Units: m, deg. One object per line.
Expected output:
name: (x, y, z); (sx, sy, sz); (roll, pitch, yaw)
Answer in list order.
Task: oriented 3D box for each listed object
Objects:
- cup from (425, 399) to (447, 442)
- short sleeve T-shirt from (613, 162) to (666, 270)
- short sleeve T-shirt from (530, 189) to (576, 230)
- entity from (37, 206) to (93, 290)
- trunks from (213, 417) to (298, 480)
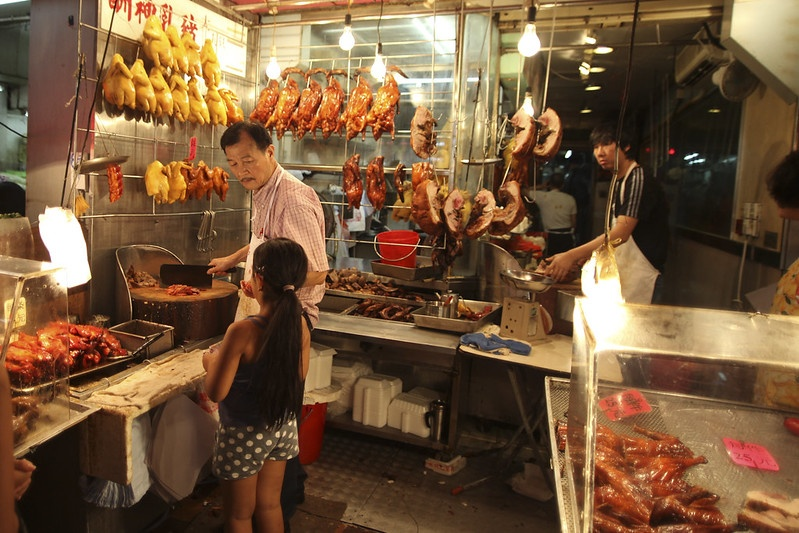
cup: (0.336, 1.255, 4.820); (0.237, 0.307, 0.152); (-8, 14, -40)
short sleeve T-shirt: (2.040, -0.417, 4.998); (0.398, 0.868, 0.709); (-10, 10, 17)
short sleeve T-shirt: (2.167, -0.779, 8.399); (0.786, 0.659, 0.351); (-1, 9, -15)
entity: (-1.944, -0.128, 3.416); (0.264, 0.486, 0.138); (-20, 14, -26)
trunks: (-0.869, 1.078, 3.547); (0.535, 0.394, 0.314); (0, 4, -39)
